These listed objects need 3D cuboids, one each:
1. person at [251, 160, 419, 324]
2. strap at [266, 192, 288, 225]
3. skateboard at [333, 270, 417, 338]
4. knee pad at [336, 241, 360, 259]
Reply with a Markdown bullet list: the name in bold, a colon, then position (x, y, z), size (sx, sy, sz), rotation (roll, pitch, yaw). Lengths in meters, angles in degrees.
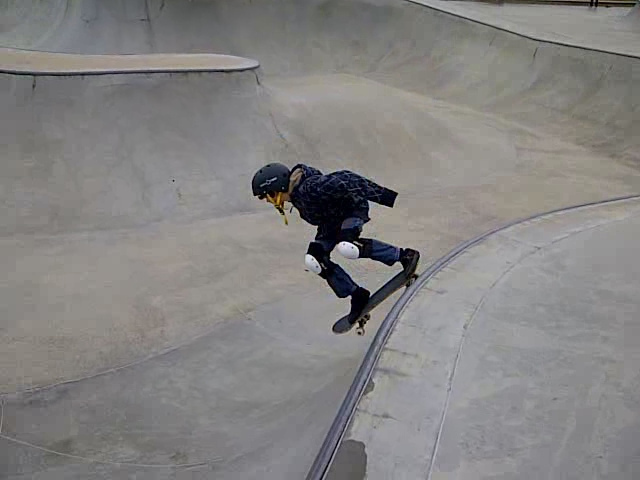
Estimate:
- **person**: position (0.163, -0.038, 6.476), size (1.474, 1.642, 0.949), rotation (-12, -15, -10)
- **strap**: position (-0.400, -0.318, 6.461), size (0.109, 0.304, 0.227), rotation (-36, 16, -10)
- **skateboard**: position (0.532, 0.654, 6.300), size (0.131, 0.793, 0.195), rotation (44, 6, -36)
- **knee pad**: position (0.282, 0.089, 6.166), size (0.244, 0.155, 0.154), rotation (4, 10, -11)
